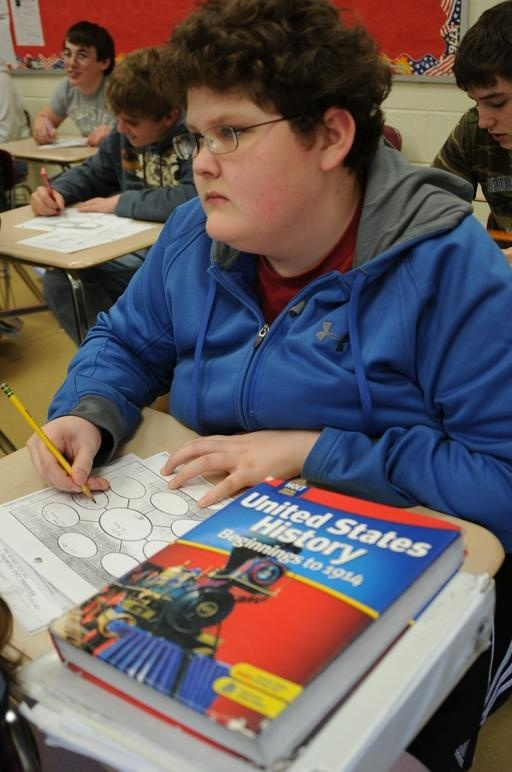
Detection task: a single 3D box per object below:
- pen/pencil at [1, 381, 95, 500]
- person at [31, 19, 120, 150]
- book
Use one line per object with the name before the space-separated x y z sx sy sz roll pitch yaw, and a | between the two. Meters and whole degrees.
pen/pencil | -0.364 0.093 1.044 0.025 0.311 0.023 -41 -12 25
person | -1.249 -2.184 4.492 0.712 0.922 0.666 9 29 7
book | 0.011 0.164 0.483 0.207 0.063 0.271 0 13 41
